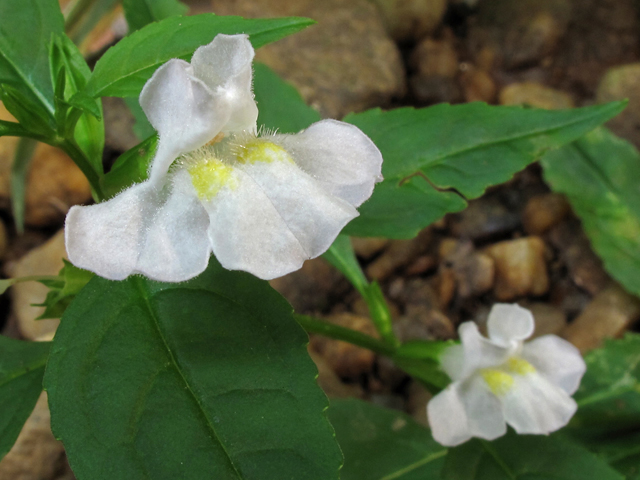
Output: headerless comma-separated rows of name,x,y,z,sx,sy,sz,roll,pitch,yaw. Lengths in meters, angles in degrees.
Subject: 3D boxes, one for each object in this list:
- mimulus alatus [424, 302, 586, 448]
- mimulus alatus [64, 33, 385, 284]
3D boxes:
mimulus alatus,0.334,0.223,1.384,0.309,0.097,0.288,-18,26,-33
mimulus alatus,-0.194,-0.096,1.282,0.429,0.230,0.456,-32,39,-29
